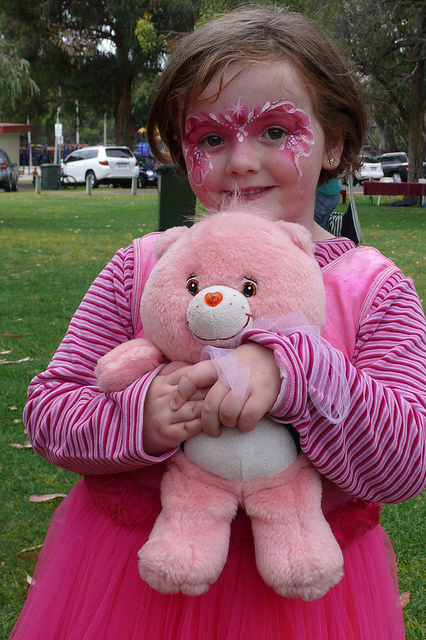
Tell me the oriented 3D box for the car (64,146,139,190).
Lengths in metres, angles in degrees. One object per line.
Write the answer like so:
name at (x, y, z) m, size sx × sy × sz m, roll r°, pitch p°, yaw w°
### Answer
car at (-5.133, -6.372, 25.020) m, size 1.956 × 1.561 × 4.280 m, roll -12°, pitch 16°, yaw -43°

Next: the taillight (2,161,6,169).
taillight at (-7.427, -5.470, 20.802) m, size 0.112 × 0.262 × 0.184 m, roll -3°, pitch 13°, yaw -19°

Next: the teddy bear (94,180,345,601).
teddy bear at (0.007, 0.070, 1.002) m, size 0.400 × 0.608 × 0.535 m, roll -1°, pitch 13°, yaw -13°

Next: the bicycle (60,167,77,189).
bicycle at (-5.959, -5.822, 24.226) m, size 0.619 × 0.837 × 0.881 m, roll -1°, pitch 13°, yaw -13°

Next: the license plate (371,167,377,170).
license plate at (8.129, -7.655, 29.779) m, size 0.178 × 0.139 × 0.096 m, roll 1°, pitch -4°, yaw 4°

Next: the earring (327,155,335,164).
earring at (0.261, -0.353, 1.295) m, size 0.022 × 0.013 × 0.024 m, roll 0°, pitch 13°, yaw 0°

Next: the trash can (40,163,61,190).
trash can at (-6.474, -5.652, 23.202) m, size 0.774 × 1.000 × 0.768 m, roll 1°, pitch 13°, yaw -5°

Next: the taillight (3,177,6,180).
taillight at (-7.454, -5.040, 20.883) m, size 0.094 × 0.080 × 0.021 m, roll -1°, pitch 5°, yaw -38°
